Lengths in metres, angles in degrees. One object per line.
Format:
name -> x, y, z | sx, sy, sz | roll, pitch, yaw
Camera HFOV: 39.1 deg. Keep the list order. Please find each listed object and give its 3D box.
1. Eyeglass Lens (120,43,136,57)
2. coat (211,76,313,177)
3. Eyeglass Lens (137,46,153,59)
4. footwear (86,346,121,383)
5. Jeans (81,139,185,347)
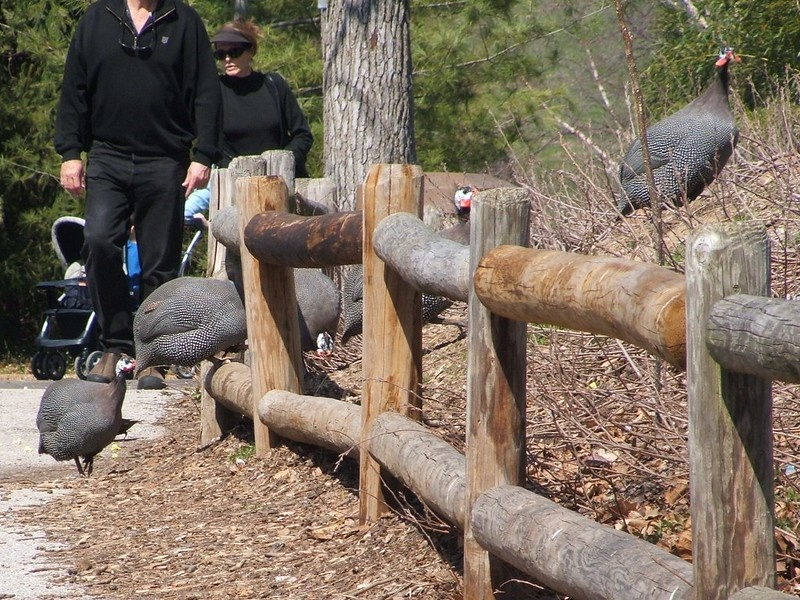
Eyeglass Lens -> -1.716, -1.599, 7.186 | 0.130, 0.108, 0.045 | 1, 9, 9
coat -> -1.072, -1.204, 8.455 | 0.809, 1.005, 0.547 | -7, 3, -3
Eyeglass Lens -> -1.621, -1.580, 7.188 | 0.074, 0.062, 0.080 | 13, 32, 20
footwear -> -1.804, 0.407, 6.858 | 0.156, 0.127, 0.453 | -2, 10, -8
Jeans -> -1.731, -0.296, 7.305 | 0.622, 0.559, 1.596 | -3, 53, -6
